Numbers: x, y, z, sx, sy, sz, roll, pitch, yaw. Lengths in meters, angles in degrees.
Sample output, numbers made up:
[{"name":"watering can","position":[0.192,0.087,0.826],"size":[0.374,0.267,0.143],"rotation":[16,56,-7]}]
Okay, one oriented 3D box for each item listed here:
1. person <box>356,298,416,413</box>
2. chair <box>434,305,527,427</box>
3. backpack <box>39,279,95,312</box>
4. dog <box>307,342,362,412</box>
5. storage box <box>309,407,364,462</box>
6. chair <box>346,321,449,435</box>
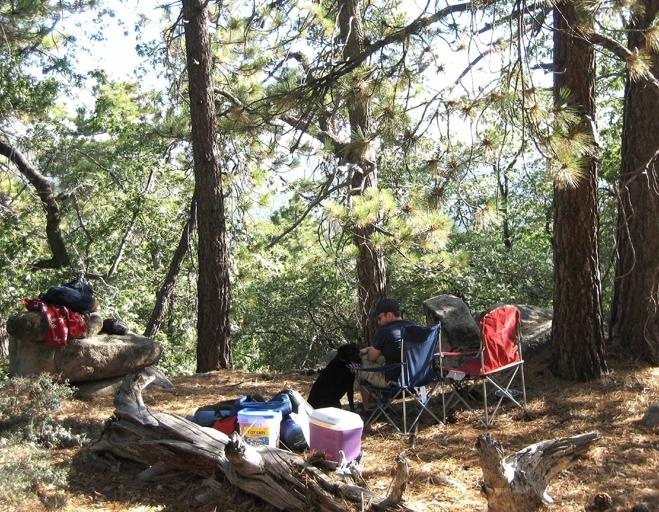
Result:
[{"name":"person","position":[0.648,1.253,9.048],"size":[0.721,1.514,0.526],"rotation":[4,10,34]},{"name":"chair","position":[1.788,1.240,8.997],"size":[0.925,1.323,1.047],"rotation":[-2,5,27]},{"name":"backpack","position":[-3.523,0.536,10.216],"size":[0.697,0.512,0.954],"rotation":[5,1,-32]},{"name":"dog","position":[0.022,1.423,8.898],"size":[0.664,0.933,0.362],"rotation":[-6,21,2]},{"name":"storage box","position":[0.041,1.762,7.586],"size":[0.370,0.468,0.473],"rotation":[-5,9,-42]},{"name":"chair","position":[0.836,1.401,8.865],"size":[0.900,1.307,1.047],"rotation":[-2,3,23]}]
